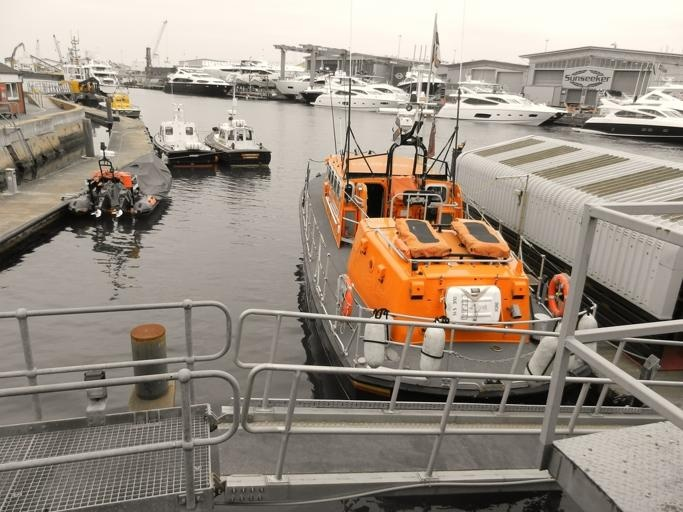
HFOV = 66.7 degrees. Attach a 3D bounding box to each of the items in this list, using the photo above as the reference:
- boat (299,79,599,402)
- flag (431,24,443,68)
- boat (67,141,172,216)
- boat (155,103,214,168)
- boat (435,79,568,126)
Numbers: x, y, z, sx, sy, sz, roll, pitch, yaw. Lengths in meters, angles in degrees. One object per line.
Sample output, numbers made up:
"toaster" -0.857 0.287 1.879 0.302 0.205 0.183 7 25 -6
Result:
"boat" 1.543 -0.826 12.251 4.914 4.123 11.105 4 23 -7
"flag" 2.169 -4.798 11.909 0.155 0.887 0.464 9 23 17
"boat" -8.511 -2.767 20.675 2.566 1.526 3.679 0 26 -12
"boat" -9.678 -7.116 31.294 2.448 2.530 5.690 -10 38 -26
"boat" 18.453 -17.070 60.342 14.876 5.064 5.197 17 16 37
